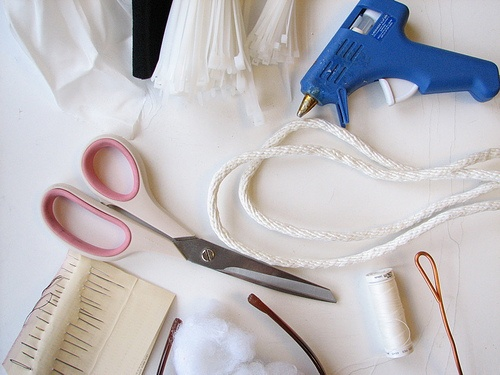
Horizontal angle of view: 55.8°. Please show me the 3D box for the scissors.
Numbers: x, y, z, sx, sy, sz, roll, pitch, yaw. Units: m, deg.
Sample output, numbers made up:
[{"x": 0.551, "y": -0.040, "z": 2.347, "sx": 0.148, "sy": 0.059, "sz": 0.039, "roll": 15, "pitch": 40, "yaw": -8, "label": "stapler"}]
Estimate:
[{"x": -0.184, "y": 0.082, "z": 1.178, "sx": 0.645, "sy": 0.375, "sz": 0.052, "roll": -4, "pitch": -1, "yaw": -4, "label": "scissors"}]
